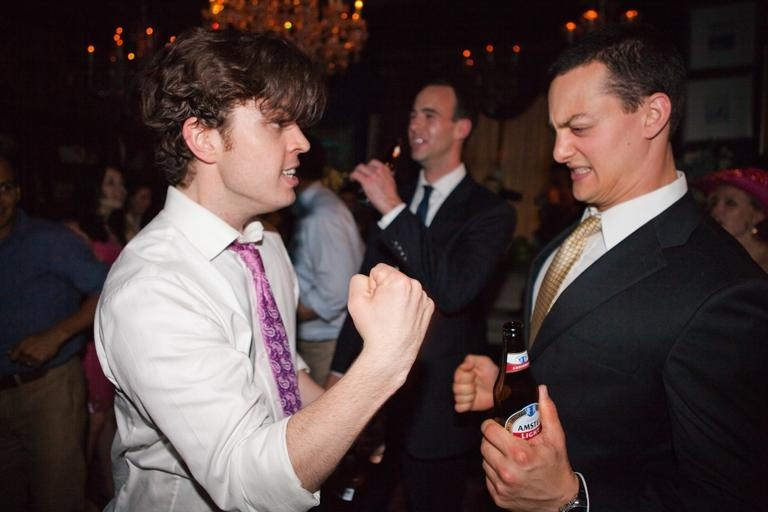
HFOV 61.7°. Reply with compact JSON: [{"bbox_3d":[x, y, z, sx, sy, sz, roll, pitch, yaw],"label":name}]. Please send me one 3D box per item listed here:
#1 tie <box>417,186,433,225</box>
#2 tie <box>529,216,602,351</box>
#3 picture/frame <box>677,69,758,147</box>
[{"bbox_3d":[0.223,-0.288,3.524,0.057,0.274,0.036,10,-18,15],"label":"tie"},{"bbox_3d":[0.809,0.132,2.837,0.094,0.867,0.129,22,-21,12],"label":"tie"},{"bbox_3d":[3.129,-1.386,5.982,0.623,0.650,0.043,9,31,43],"label":"picture/frame"}]
